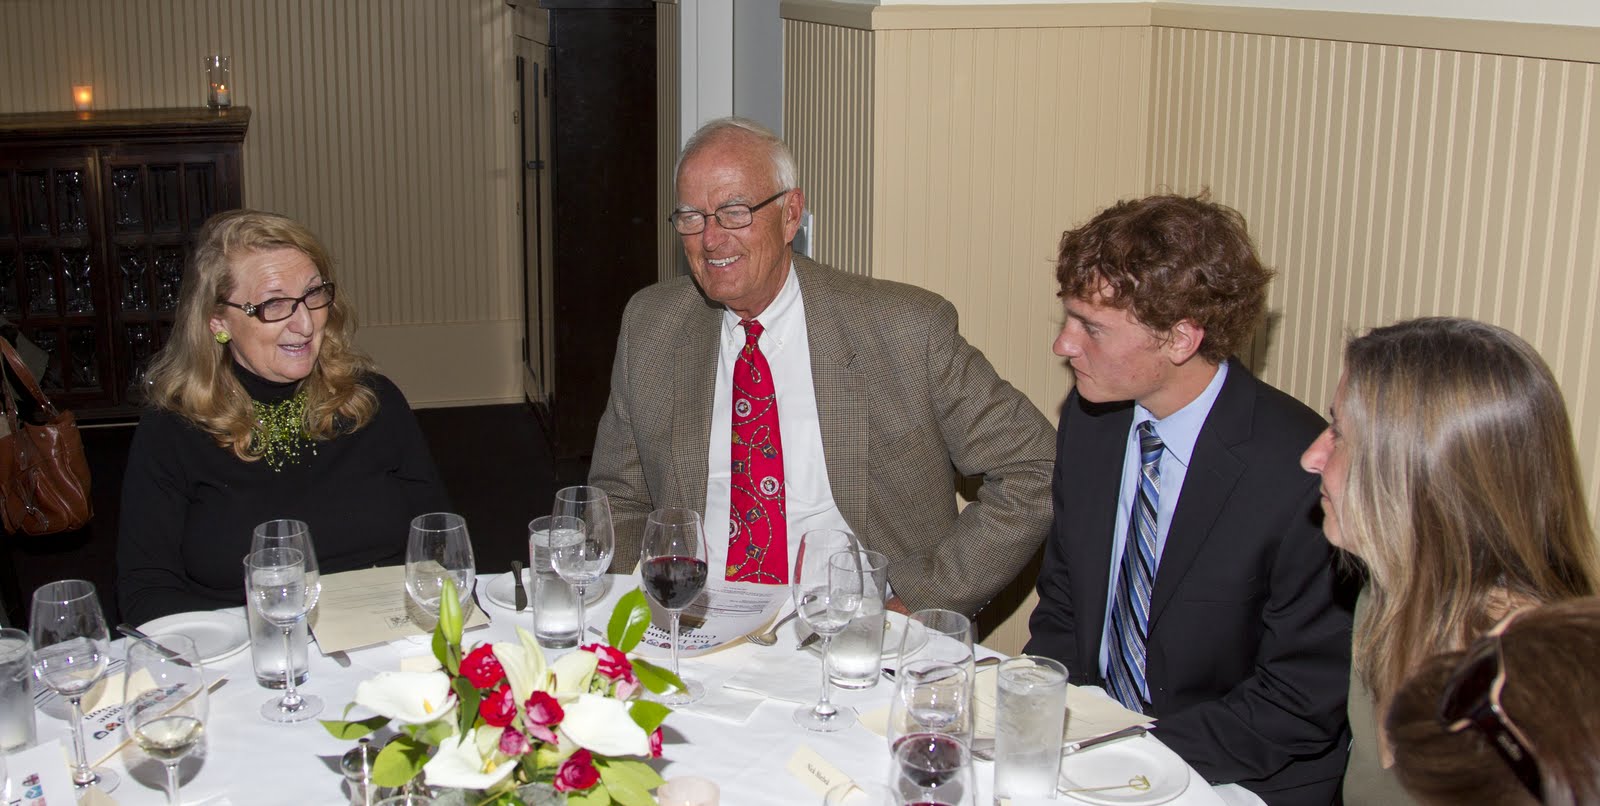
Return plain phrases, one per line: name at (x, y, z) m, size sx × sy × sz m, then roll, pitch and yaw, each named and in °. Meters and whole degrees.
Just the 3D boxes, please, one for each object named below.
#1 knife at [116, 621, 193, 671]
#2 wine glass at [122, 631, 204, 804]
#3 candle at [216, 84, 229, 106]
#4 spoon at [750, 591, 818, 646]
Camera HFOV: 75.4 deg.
knife at (-1.533, 0.580, 2.462) m, size 0.289 × 0.025 × 0.044 m, roll 20°, pitch 27°, yaw 36°
wine glass at (-1.441, 0.728, 2.356) m, size 0.153 × 0.369 × 0.213 m, roll -10°, pitch 17°, yaw -37°
candle at (-3.635, -1.926, 6.503) m, size 0.087 × 0.101 × 0.088 m, roll 21°, pitch 35°, yaw 22°
spoon at (-0.048, 0.573, 2.759) m, size 0.143 × 0.087 × 0.204 m, roll -14°, pitch 6°, yaw 31°
